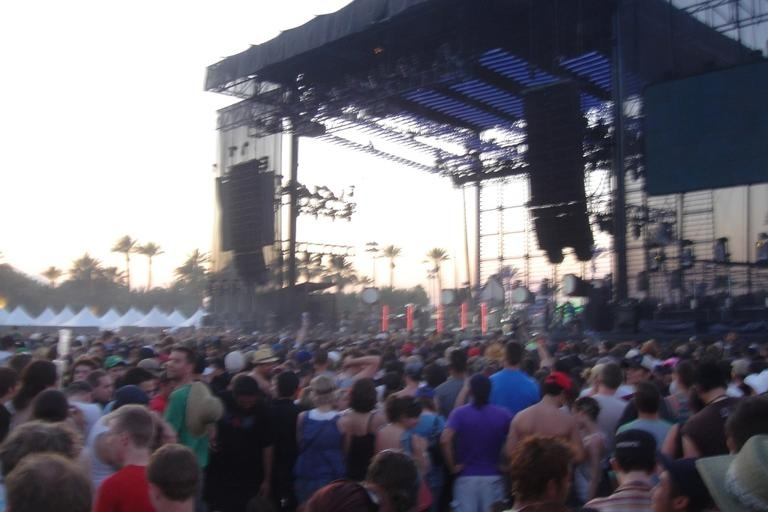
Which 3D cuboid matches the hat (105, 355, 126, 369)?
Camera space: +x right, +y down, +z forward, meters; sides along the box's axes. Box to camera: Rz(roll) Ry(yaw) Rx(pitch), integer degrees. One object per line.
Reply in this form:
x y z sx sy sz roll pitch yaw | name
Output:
-5.607 2.198 20.214 0.384 0.186 0.273 -16 -13 28 | hat

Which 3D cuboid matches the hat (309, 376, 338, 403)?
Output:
-1.123 2.518 18.292 0.537 0.459 0.478 0 0 -17 | hat

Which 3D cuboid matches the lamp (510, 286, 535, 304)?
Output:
4.990 1.450 34.386 0.514 0.622 0.653 -6 17 -5 | lamp

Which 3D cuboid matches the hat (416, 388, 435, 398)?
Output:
0.832 2.677 18.931 0.278 0.172 0.349 2 25 7 | hat

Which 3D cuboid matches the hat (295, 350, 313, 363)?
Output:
-1.646 2.101 20.299 0.293 0.192 0.266 3 -8 -19 | hat

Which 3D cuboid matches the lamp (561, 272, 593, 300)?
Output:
6.044 0.927 29.514 1.275 0.726 0.740 5 7 -31 | lamp

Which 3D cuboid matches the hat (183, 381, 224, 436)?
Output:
-3.510 2.872 18.232 0.875 0.346 1.121 26 -13 35 | hat

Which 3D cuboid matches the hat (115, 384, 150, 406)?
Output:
-4.593 2.569 17.796 0.516 0.434 0.371 -9 2 -11 | hat
